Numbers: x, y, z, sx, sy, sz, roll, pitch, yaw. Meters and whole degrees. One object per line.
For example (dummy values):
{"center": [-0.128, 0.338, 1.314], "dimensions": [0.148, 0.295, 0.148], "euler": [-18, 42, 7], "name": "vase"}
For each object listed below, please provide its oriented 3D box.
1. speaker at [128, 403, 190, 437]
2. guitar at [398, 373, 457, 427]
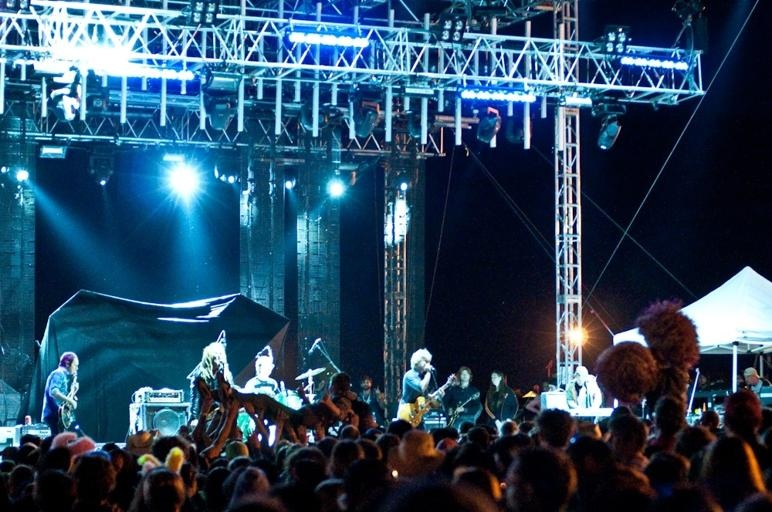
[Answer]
{"center": [-4.706, 3.422, 24.455], "dimensions": [0.833, 0.738, 1.234], "euler": [-10, -13, 42], "name": "speaker"}
{"center": [0.816, 3.078, 25.050], "dimensions": [1.485, 0.505, 0.208], "euler": [-38, 12, -34], "name": "guitar"}
